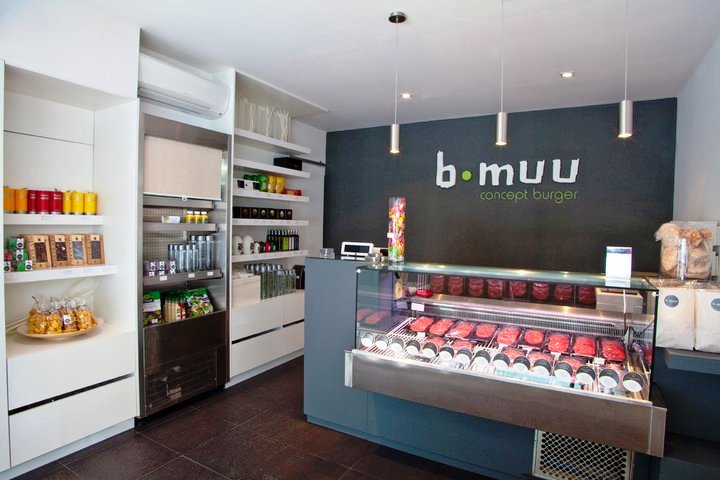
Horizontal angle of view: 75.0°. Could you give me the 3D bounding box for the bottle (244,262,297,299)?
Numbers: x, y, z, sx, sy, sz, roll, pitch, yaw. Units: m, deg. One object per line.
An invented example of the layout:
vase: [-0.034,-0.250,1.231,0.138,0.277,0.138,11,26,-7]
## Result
bottle: [-1.105,0.567,5.633,0.360,0.421,0.639,-5,-7,28]

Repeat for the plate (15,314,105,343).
plate: [-2.646,0.787,4.143,0.652,0.119,0.377,-5,4,-36]

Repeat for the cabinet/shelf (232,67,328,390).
cabinet/shelf: [-1.012,-0.163,5.854,0.783,3.319,2.170,-2,3,22]

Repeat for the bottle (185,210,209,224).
bottle: [-1.687,-0.233,4.811,0.122,0.203,0.218,-1,-5,26]

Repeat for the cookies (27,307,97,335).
cookies: [-2.605,0.699,4.046,0.382,0.145,0.282,-2,-2,24]
